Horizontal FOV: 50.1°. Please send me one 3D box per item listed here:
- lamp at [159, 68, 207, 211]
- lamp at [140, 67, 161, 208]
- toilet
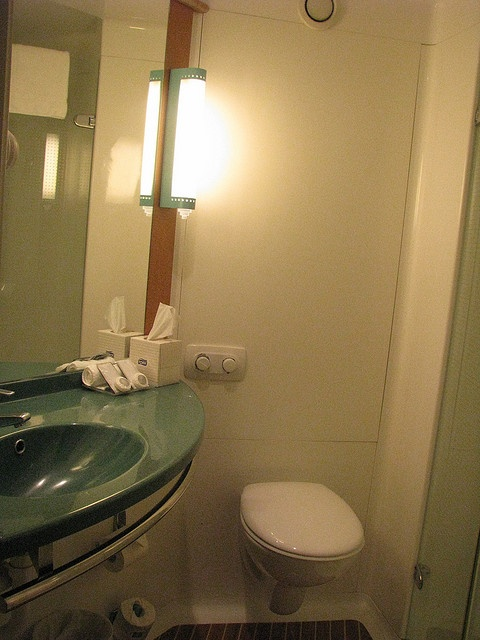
[{"bbox_3d":[-0.172,-0.523,1.507,0.093,0.401,0.076,12,12,27],"label":"lamp"},{"bbox_3d":[-0.255,-0.511,1.466,0.044,0.405,0.061,5,9,18],"label":"lamp"},{"bbox_3d":[0.178,0.573,1.541,0.311,0.362,0.389,0,16,-13],"label":"toilet"}]
